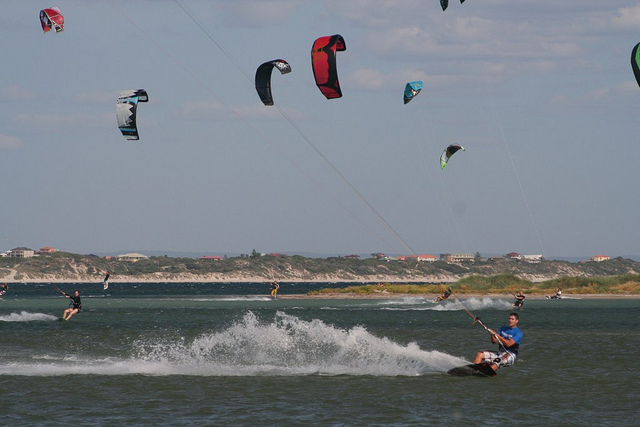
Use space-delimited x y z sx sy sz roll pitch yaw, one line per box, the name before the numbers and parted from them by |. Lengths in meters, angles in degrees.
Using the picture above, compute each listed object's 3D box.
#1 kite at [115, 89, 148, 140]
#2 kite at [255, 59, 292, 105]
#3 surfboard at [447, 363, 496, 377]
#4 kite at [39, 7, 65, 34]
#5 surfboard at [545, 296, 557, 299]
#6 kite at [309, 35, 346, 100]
kite | -8.494 -4.370 50.891 1.051 2.112 0.806 1 -1 9
kite | -2.316 -5.935 51.840 1.372 1.975 0.880 1 -1 4
surfboard | 6.341 6.575 46.985 1.372 0.312 0.717 -3 -1 3
kite | -13.282 -9.532 56.235 0.699 1.147 1.187 2 -1 -36
surfboard | 16.965 6.244 82.994 0.665 0.162 1.335 1 -1 5
kite | 0.330 -6.466 50.988 1.382 2.794 1.446 1 -1 0
